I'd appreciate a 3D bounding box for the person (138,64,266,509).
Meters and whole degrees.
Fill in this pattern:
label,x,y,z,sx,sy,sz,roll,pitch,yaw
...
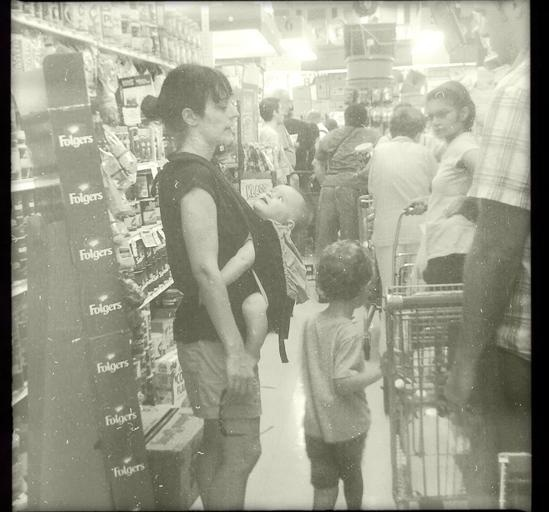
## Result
label,x,y,z,sx,sy,sz,roll,pitch,yaw
person,-0.309,0.158,2.764,0.441,1.968,0.296,-4,11,-11

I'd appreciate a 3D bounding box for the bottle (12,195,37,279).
label,x,y,z,sx,sy,sz,roll,pitch,yaw
bottle,-1.112,-0.084,2.663,0.112,0.390,0.044,-2,11,0

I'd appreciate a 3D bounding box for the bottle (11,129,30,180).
label,x,y,z,sx,sy,sz,roll,pitch,yaw
bottle,-1.111,-0.443,2.639,0.082,0.214,0.031,-4,11,-6

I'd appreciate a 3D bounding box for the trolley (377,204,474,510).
label,x,y,z,sx,sy,sz,roll,pitch,yaw
trolley,0.661,0.492,3.033,0.532,1.250,0.411,0,8,-8

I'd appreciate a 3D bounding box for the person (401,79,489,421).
label,x,y,z,sx,sy,sz,roll,pitch,yaw
person,0.768,-0.316,2.735,0.307,0.910,0.162,0,11,13
